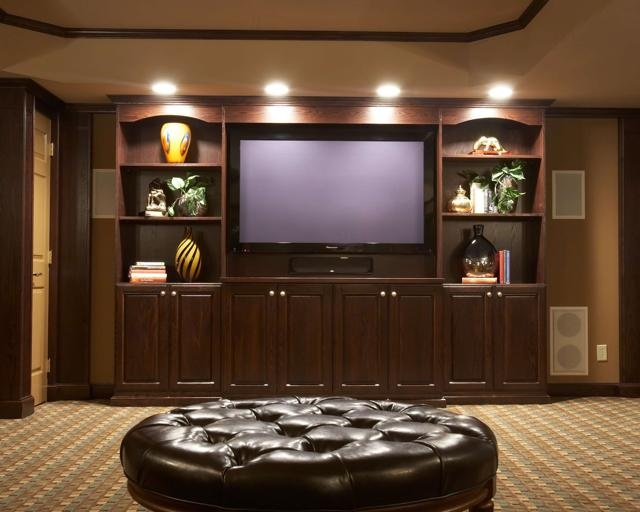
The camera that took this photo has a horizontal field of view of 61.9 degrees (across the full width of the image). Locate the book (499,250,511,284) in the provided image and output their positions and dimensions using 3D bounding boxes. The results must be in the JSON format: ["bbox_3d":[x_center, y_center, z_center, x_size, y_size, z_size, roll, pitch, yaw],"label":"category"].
[{"bbox_3d":[1.563,0.088,4.514,0.098,0.262,0.273,0,-2,0],"label":"book"}]

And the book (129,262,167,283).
[{"bbox_3d":[-1.423,0.136,4.404,0.239,0.149,0.173,1,-3,-14],"label":"book"}]

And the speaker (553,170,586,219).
[{"bbox_3d":[2.229,-0.552,4.779,0.277,0.414,0.104,0,12,0],"label":"speaker"}]

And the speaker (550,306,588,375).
[{"bbox_3d":[2.209,0.745,4.733,0.334,0.574,0.155,0,12,1],"label":"speaker"}]
